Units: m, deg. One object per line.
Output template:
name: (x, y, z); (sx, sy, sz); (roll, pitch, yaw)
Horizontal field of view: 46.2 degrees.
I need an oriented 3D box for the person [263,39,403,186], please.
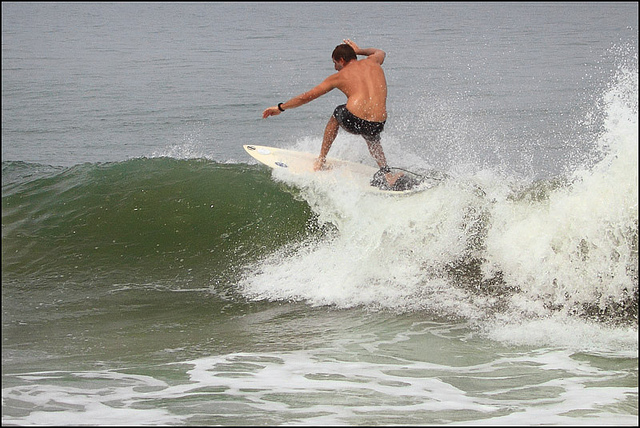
person: (0.381, -1.814, 12.849); (1.493, 2.281, 0.540); (3, 12, 1)
